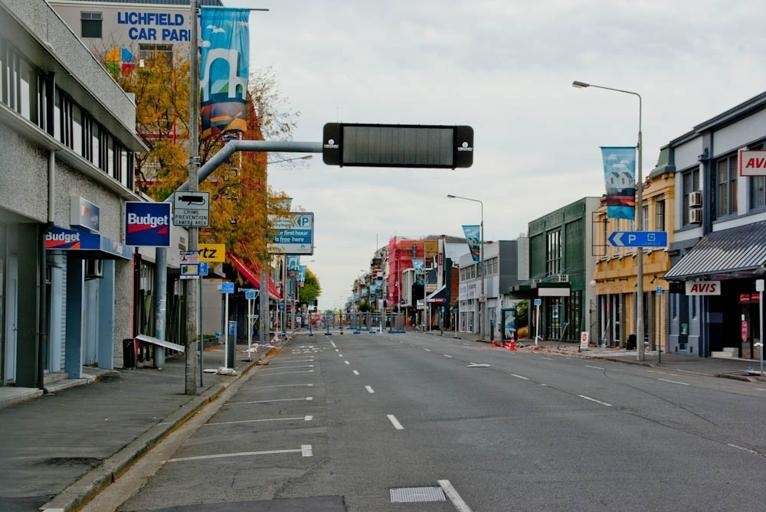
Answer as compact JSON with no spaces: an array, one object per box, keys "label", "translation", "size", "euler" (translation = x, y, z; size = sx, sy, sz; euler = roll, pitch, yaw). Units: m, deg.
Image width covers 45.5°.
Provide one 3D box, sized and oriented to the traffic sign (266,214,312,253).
[{"label":"traffic sign","translation":[-5.596,-1.266,53.848],"size":[2.541,2.312,0.394],"euler":[1,-11,-3]}]
